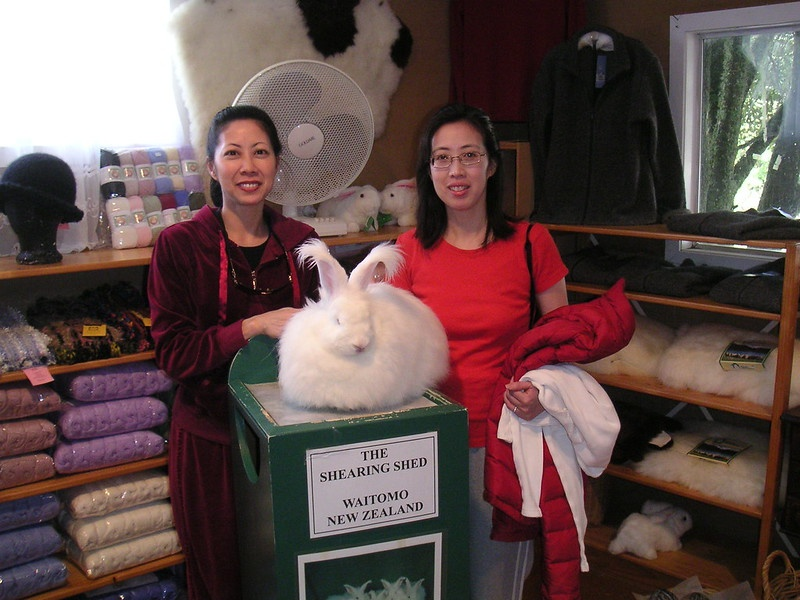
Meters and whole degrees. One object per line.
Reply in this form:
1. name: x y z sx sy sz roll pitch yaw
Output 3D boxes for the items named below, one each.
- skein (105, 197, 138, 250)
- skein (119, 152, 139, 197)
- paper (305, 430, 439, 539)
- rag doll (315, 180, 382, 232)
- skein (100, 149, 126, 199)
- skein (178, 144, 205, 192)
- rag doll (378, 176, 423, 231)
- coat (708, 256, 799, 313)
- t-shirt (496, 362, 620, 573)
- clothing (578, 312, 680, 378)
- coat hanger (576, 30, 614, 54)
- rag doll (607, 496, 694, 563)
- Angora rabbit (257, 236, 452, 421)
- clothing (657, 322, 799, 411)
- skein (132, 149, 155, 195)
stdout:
1. skein: -1.157 -0.313 2.489 0.115 0.225 0.077 -8 0 -23
2. skein: -1.163 -0.535 2.588 0.055 0.173 0.100 -6 0 20
3. paper: -0.075 0.392 1.290 0.240 0.173 0.033 -4 6 -19
4. rag doll: -0.229 -0.425 2.905 0.222 0.213 0.284 24 -19 -38
5. skein: -1.217 -0.535 2.545 0.108 0.214 0.074 0 -4 -40
6. skein: -0.945 -0.583 2.698 0.108 0.195 0.063 -7 -3 -14
7. rag doll: 0.007 -0.508 3.097 0.287 0.289 0.179 -15 15 -34
8. coat: 1.423 -0.043 2.421 0.247 0.083 0.242 -23 19 -30
9. t-shirt: 0.467 0.506 1.762 0.334 0.633 0.177 -10 14 -22
10. clothing: 1.102 0.244 2.807 0.361 0.109 0.282 -18 25 -28
11. coat hanger: 0.939 -1.237 2.883 0.174 0.097 0.057 8 28 27
12. rag doll: 1.175 1.075 2.834 0.401 0.203 0.241 -13 8 -7
13. Angora rabbit: -0.090 0.054 1.521 0.447 0.382 0.477 5 10 9
14. clothing: 1.403 0.269 2.554 0.389 0.124 0.310 11 12 33
15. skein: -1.112 -0.546 2.613 0.057 0.182 0.109 -7 -1 43
